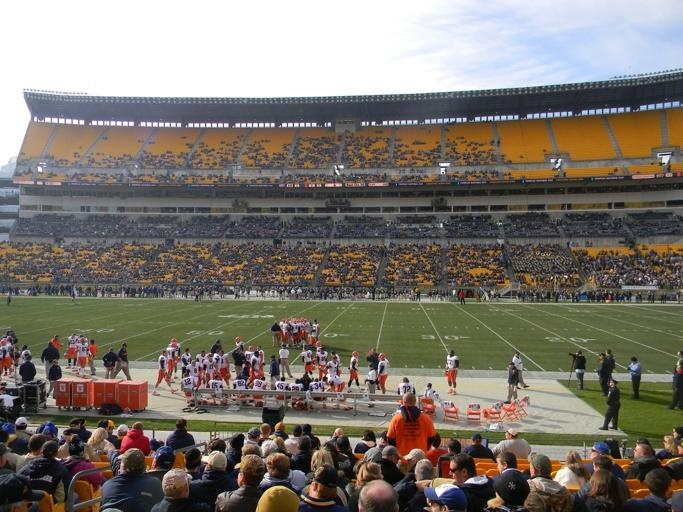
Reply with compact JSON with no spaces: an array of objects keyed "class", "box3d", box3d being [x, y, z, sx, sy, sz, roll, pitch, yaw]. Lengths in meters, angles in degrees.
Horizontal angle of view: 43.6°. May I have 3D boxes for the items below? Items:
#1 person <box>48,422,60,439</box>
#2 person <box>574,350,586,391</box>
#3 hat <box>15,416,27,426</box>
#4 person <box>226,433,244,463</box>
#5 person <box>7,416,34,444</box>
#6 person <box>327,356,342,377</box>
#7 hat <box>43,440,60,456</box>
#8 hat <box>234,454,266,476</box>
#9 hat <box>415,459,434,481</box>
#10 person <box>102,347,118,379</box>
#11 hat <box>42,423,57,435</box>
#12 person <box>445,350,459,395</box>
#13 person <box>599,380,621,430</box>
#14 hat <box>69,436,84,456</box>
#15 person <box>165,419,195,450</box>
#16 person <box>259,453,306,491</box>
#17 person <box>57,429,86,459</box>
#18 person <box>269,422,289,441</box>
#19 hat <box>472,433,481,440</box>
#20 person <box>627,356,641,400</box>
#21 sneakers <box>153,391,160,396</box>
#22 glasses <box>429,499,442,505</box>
[{"class":"person","box3d":[-11.590,7.062,34.424,0.356,0.642,0.721,4,-10,-21]},{"class":"person","box3d":[11.906,5.815,43.162,0.497,1.953,1.262,-3,-10,13]},{"class":"hat","box3d":[-13.045,6.812,35.019,0.381,0.222,0.483,2,5,-19]},{"class":"person","box3d":[-4.149,7.743,34.113,0.799,1.081,0.634,15,-39,-15]},{"class":"person","box3d":[-13.073,7.038,34.965,1.105,0.466,0.743,12,2,26]},{"class":"person","box3d":[-0.425,5.415,41.978,0.527,0.962,1.076,-1,-10,4]},{"class":"hat","box3d":[-11.048,7.385,32.654,0.520,0.402,0.697,18,-34,6]},{"class":"hat","box3d":[-3.393,7.836,32.165,0.750,0.713,0.806,17,9,-15]},{"class":"hat","box3d":[3.096,8.087,32.383,0.745,0.712,0.761,2,30,4]},{"class":"person","box3d":[-11.741,5.486,43.603,0.668,1.540,1.111,2,-10,-15]},{"class":"hat","box3d":[-11.743,7.046,34.507,0.448,0.486,0.565,-4,-1,20]},{"class":"person","box3d":[5.440,5.815,42.590,0.583,2.168,1.535,-2,-10,7]},{"class":"person","box3d":[12.253,6.885,39.283,0.811,2.277,1.066,-3,-11,15]},{"class":"hat","box3d":[-10.236,7.420,33.303,0.684,0.632,0.748,3,20,-18]},{"class":"person","box3d":[-6.761,7.607,35.982,1.521,1.313,0.891,7,10,3]},{"class":"person","box3d":[-2.265,8.275,32.338,1.776,0.909,0.744,1,22,-7]},{"class":"person","box3d":[-10.916,7.456,34.226,1.018,1.227,0.539,-12,-46,19]},{"class":"person","box3d":[-2.569,7.243,35.116,0.948,0.566,0.606,6,-21,-4]},{"class":"hat","box3d":[5.474,7.428,34.945,0.286,0.299,0.331,10,23,9]},{"class":"person","box3d":[14.227,6.006,41.861,0.532,2.083,1.426,-4,-11,18]},{"class":"sneakers","box3d":[-9.097,6.813,42.237,0.291,0.228,0.405,2,-9,-12]},{"class":"glasses","box3d":[3.403,9.191,31.646,0.366,0.135,0.204,9,-10,16]}]
